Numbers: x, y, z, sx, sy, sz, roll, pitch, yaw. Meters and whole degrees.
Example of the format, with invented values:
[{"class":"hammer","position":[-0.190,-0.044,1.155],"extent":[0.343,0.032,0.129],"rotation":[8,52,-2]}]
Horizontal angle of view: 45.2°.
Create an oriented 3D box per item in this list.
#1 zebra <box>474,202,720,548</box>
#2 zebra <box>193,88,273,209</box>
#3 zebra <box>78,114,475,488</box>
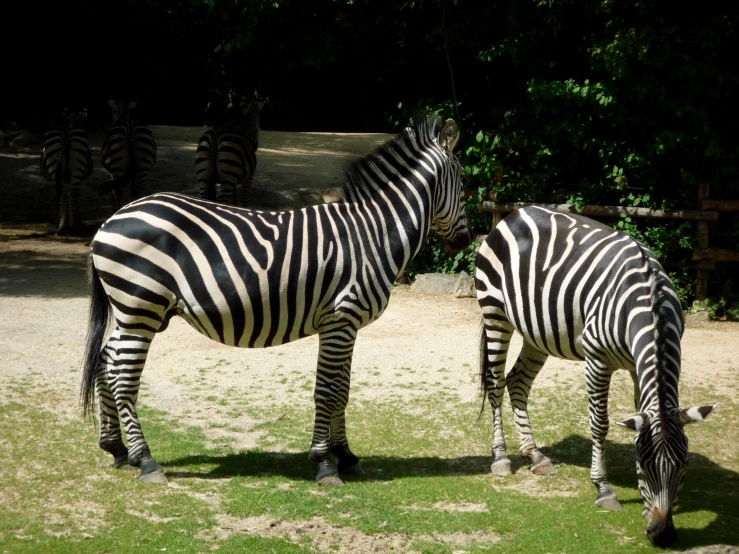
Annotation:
[{"class":"zebra","position":[1.787,0.697,7.424],"extent":[0.899,1.896,2.130],"rotation":[3,4,-27]},{"class":"zebra","position":[-2.629,-2.375,17.554],"extent":[1.006,2.427,3.447],"rotation":[2,11,5]},{"class":"zebra","position":[-0.936,0.298,9.176],"extent":[4.818,4.267,1.515],"rotation":[0,-2,-5]}]
